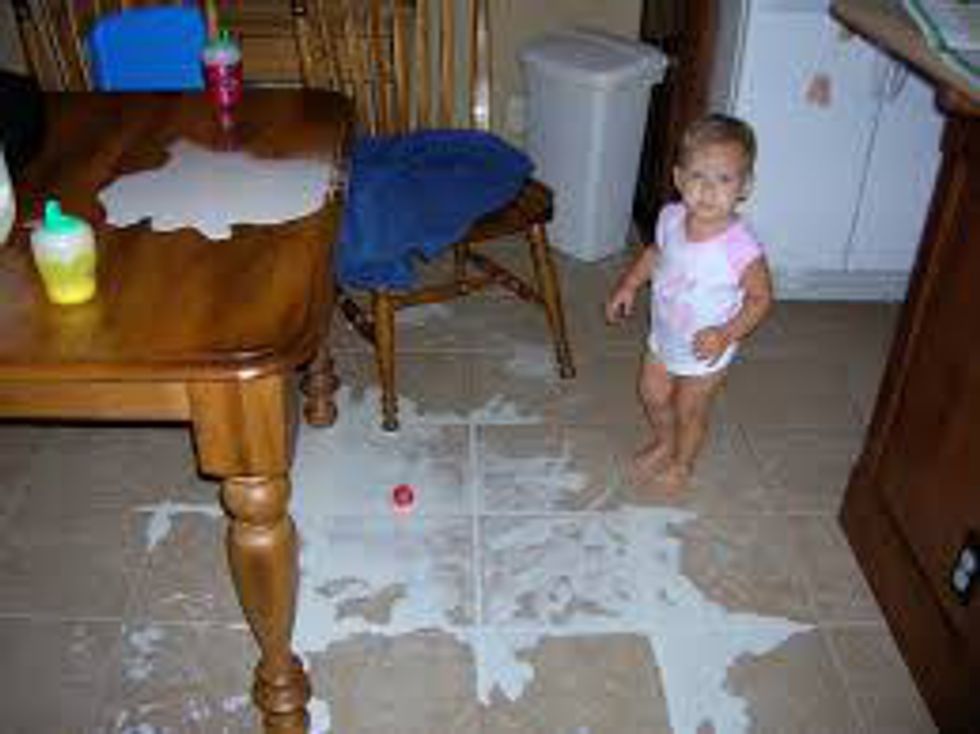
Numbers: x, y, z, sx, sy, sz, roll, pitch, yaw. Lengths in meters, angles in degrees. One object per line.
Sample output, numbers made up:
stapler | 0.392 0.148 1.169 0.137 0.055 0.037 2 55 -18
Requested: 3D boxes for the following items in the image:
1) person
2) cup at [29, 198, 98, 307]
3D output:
person | 0.493 -0.124 1.862 0.261 0.938 0.369 -24 39 -30
cup | -0.686 -0.198 1.194 0.091 0.146 0.163 -20 38 -26
